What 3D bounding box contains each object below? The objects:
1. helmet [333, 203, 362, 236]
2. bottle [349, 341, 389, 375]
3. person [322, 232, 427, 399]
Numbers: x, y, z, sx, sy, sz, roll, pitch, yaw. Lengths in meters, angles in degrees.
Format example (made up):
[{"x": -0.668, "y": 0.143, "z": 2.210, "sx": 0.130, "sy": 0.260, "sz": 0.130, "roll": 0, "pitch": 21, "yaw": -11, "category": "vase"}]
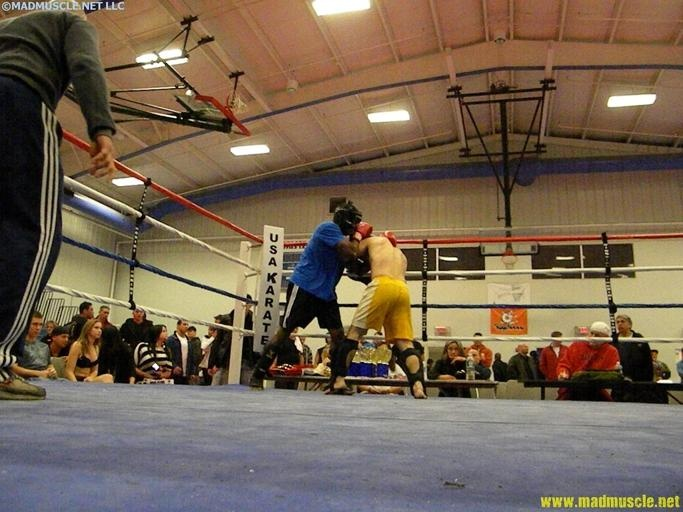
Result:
[{"x": 0.055, "y": -0.280, "z": 3.607, "sx": 0.260, "sy": 0.226, "sz": 0.273, "roll": 1, "pitch": -7, "yaw": 1, "category": "helmet"}, {"x": 0.295, "y": 1.018, "z": 4.688, "sx": 0.443, "sy": 0.149, "sz": 0.475, "roll": 0, "pitch": -5, "yaw": 0, "category": "bottle"}, {"x": 0.255, "y": 0.355, "z": 3.311, "sx": 0.664, "sy": 1.179, "sz": 0.476, "roll": 1, "pitch": -18, "yaw": 7, "category": "person"}]
